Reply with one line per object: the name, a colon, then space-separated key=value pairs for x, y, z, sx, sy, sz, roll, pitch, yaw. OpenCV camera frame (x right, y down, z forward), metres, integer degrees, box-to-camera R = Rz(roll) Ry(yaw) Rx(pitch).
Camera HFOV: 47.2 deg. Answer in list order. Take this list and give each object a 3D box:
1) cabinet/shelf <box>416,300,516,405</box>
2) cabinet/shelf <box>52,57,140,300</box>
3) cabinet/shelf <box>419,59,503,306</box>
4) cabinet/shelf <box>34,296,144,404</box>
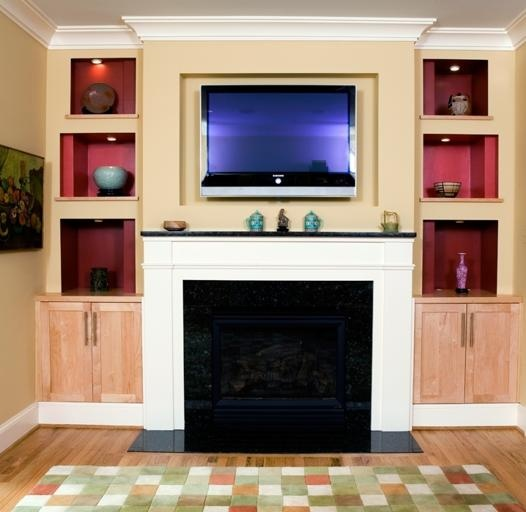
cabinet/shelf: x=1.347 y=0.625 z=4.064 sx=0.661 sy=0.654 sz=0.379 roll=0 pitch=1 yaw=-1
cabinet/shelf: x=-1.188 y=-0.606 z=4.291 sx=0.700 sy=1.676 sz=0.373 roll=1 pitch=10 yaw=4
cabinet/shelf: x=1.456 y=-0.569 z=4.336 sx=0.686 sy=1.652 sz=0.622 roll=2 pitch=11 yaw=13
cabinet/shelf: x=-1.152 y=0.610 z=4.256 sx=0.729 sy=0.739 sz=0.407 roll=0 pitch=3 yaw=3
